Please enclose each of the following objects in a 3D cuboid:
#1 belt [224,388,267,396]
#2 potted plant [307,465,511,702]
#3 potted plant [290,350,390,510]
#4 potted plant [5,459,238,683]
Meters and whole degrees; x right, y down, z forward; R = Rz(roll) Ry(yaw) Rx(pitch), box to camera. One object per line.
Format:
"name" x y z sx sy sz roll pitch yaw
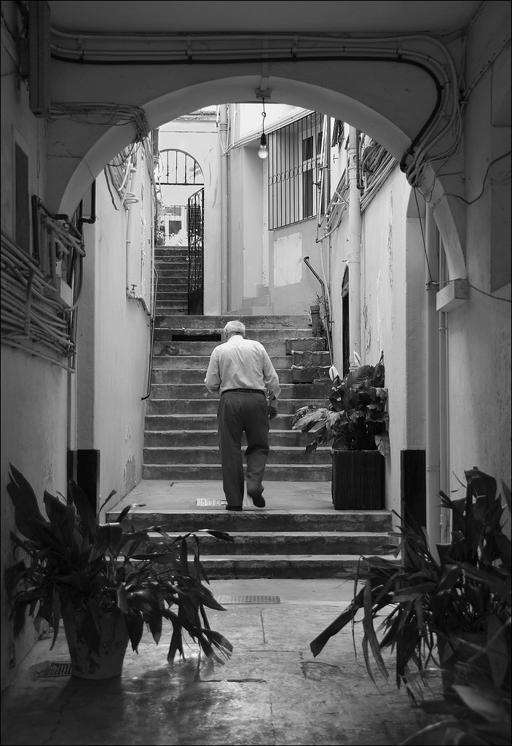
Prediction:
"belt" -0.087 0.138 5.400 0.298 0.058 0.104 -1 2 -15
"potted plant" 0.563 0.800 2.898 0.609 0.899 0.496 -6 9 -27
"potted plant" 0.678 0.475 5.886 0.573 1.487 0.896 0 -1 7
"potted plant" -0.523 0.750 2.719 0.748 0.766 0.551 21 -28 -41
